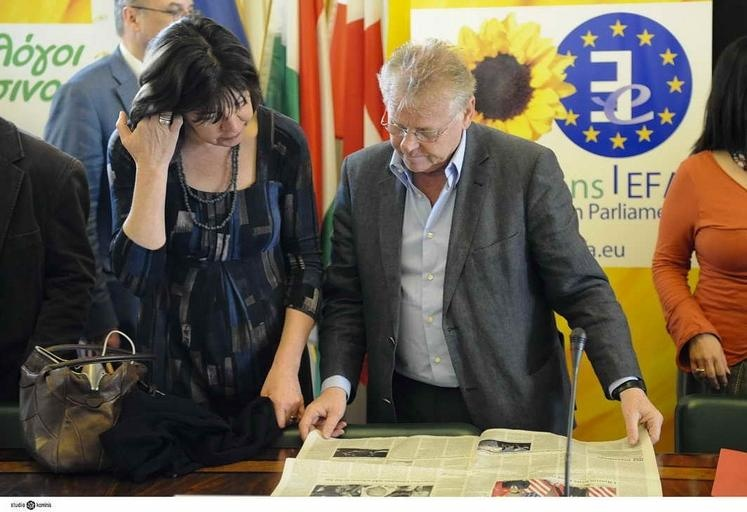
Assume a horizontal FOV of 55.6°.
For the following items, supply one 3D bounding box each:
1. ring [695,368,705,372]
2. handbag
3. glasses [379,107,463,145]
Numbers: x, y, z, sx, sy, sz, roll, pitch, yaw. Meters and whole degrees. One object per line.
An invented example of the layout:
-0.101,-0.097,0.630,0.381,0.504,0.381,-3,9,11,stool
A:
1.181,0.418,2.598,0.027,0.019,0.004,3,9,27,ring
-0.825,0.432,2.053,0.280,0.318,0.348,3,1,-21,handbag
0.147,-0.410,2.265,0.242,0.095,0.108,0,8,6,glasses
